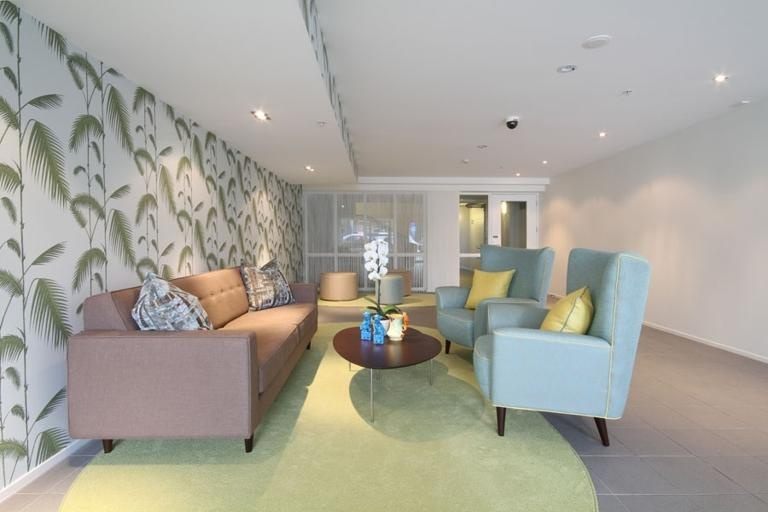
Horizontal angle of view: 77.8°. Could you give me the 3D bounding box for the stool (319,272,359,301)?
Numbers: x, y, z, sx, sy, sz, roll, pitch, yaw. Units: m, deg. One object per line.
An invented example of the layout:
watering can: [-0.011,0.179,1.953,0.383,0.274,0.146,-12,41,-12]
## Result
stool: [-0.788,0.481,8.180,0.515,0.356,0.505,0,0,-34]

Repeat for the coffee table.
coffee table: [0.124,1.041,4.344,0.773,0.372,0.963,-8,3,-8]

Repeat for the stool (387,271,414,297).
stool: [0.345,0.472,8.425,0.448,0.411,0.439,-2,6,-22]

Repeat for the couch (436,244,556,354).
couch: [1.177,0.515,5.268,1.141,1.259,1.035,-2,7,-31]

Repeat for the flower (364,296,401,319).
flower: [-0.041,0.537,4.735,0.390,0.177,0.396,3,-1,19]

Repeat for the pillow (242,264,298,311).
pillow: [-1.390,0.338,5.540,0.183,0.602,0.650,-20,6,34]

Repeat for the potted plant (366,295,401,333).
potted plant: [-0.010,0.577,4.816,0.400,0.400,0.313,0,2,28]

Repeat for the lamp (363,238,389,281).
lamp: [-0.076,0.010,4.517,0.234,0.281,0.476,-6,20,-2]

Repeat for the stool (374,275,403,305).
stool: [0.087,0.541,7.543,0.465,0.501,0.453,1,6,15]

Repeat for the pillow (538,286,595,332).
pillow: [1.585,0.554,4.113,0.349,0.517,0.587,9,14,28]
